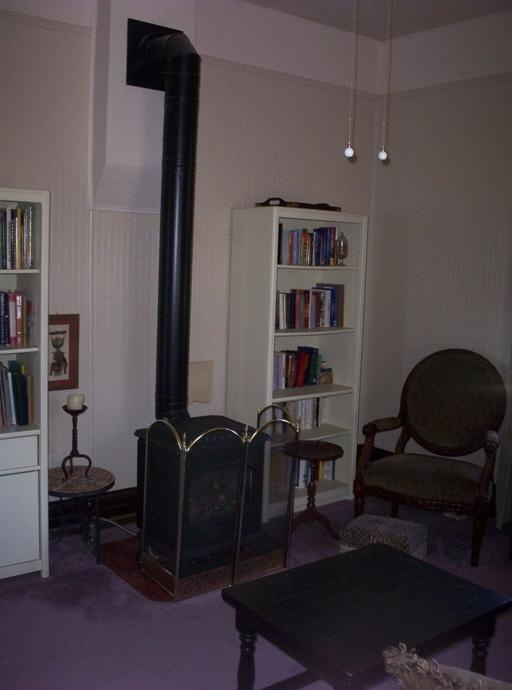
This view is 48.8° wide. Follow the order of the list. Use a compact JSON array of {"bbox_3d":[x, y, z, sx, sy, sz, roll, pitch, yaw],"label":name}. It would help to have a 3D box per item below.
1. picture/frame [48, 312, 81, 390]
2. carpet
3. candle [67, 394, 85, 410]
[{"bbox_3d":[-1.081,0.049,3.202,0.187,0.445,0.083,0,3,-32],"label":"picture/frame"},{"bbox_3d":[-0.279,1.045,2.628,0.411,0.061,0.390,-3,13,-35],"label":"carpet"},{"bbox_3d":[-0.962,0.308,3.059,0.078,0.079,0.080,9,10,29],"label":"candle"}]
